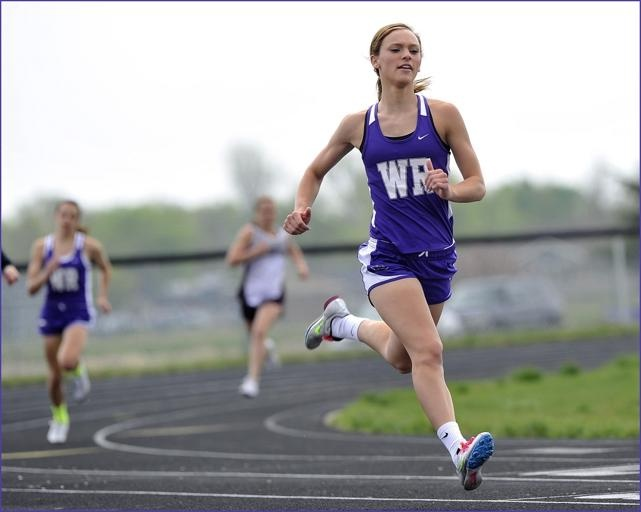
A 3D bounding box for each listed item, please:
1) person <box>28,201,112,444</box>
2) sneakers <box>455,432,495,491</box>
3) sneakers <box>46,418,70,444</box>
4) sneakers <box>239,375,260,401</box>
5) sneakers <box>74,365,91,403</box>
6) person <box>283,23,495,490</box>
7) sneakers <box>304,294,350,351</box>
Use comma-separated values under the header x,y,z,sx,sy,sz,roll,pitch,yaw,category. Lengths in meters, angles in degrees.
x,y,z,sx,sy,sz,roll,pitch,yaw,category
-1.989,0.505,7.621,0.624,1.896,0.288,1,-1,-18,person
0.933,1.246,6.033,0.201,0.429,0.167,26,39,15,sneakers
-2.057,1.365,7.548,0.151,0.179,0.103,0,-1,-12,sneakers
-0.740,1.324,9.826,0.191,0.243,0.302,0,-1,-7,sneakers
-1.876,0.999,7.575,0.102,0.295,0.128,-3,5,4,sneakers
0.536,-0.011,6.477,1.370,3.016,0.837,0,-1,25,person
0.015,0.587,7.291,0.239,0.212,0.619,-16,28,23,sneakers
